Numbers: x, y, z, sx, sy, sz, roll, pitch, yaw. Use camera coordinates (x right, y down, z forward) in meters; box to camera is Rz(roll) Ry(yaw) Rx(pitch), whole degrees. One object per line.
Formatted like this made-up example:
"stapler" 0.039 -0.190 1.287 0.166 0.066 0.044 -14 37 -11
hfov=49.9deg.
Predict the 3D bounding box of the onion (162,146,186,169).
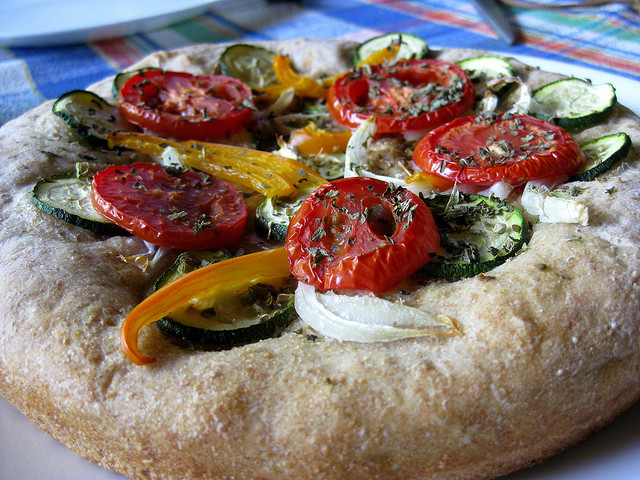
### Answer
"onion" -0.978 -0.554 4.647 0.119 0.061 0.189 -33 56 3
